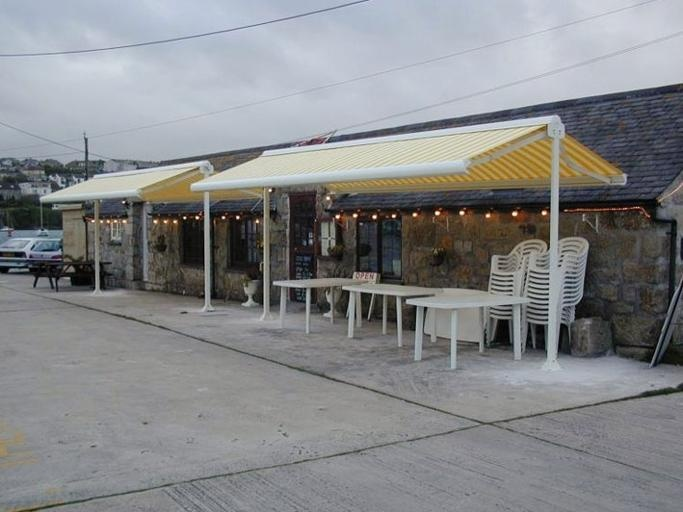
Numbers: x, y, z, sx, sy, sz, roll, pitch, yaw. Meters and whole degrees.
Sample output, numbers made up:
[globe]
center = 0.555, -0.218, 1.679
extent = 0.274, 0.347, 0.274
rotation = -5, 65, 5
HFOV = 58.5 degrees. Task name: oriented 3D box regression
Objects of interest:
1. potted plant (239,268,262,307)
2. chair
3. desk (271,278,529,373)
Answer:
[potted plant]
center = -2.211, 0.763, 15.216
extent = 0.381, 0.919, 0.661
rotation = 3, 6, 31
[chair]
center = 3.024, 0.593, 9.651
extent = 0.771, 1.792, 1.502
rotation = -5, 7, -44
[desk]
center = 1.085, 1.025, 10.277
extent = 1.968, 1.018, 4.086
rotation = -4, 6, -38
